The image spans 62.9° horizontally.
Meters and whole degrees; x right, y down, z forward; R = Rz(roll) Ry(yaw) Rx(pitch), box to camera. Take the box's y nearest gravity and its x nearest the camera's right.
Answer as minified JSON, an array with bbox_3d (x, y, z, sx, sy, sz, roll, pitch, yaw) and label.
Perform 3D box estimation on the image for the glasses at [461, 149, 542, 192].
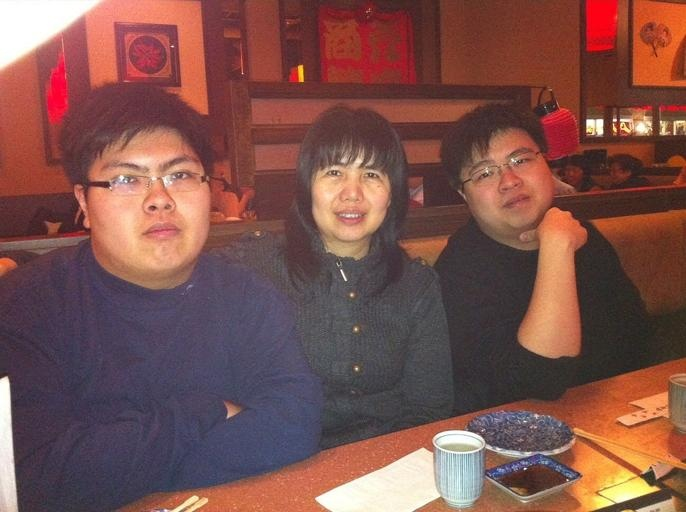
[{"bbox_3d":[0.708,-0.380,2.390,0.267,0.059,0.228,-13,-3,10],"label":"glasses"}]

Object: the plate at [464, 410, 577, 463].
[{"bbox_3d":[0.488,0.491,1.560,0.263,0.044,0.256,3,12,18],"label":"plate"}]

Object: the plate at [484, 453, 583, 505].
[{"bbox_3d":[0.475,0.556,1.407,0.205,0.040,0.115,-11,15,-18],"label":"plate"}]
